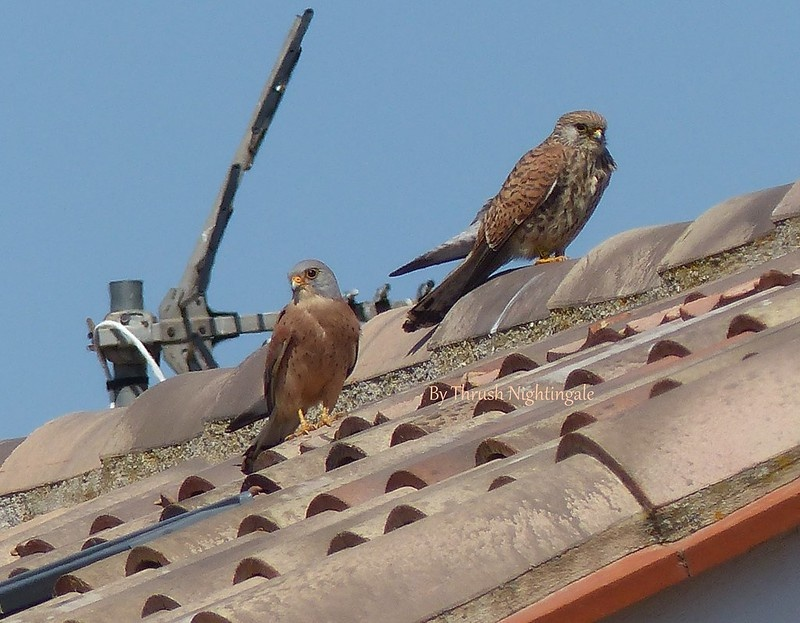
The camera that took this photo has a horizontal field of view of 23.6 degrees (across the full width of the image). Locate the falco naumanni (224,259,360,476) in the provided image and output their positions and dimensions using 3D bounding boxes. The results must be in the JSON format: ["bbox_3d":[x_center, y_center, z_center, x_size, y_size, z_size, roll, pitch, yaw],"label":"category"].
[{"bbox_3d":[-0.371,0.164,7.347,0.344,0.757,0.558,1,-1,-25],"label":"falco naumanni"}]

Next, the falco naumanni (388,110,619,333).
[{"bbox_3d":[0.518,-0.472,8.555,1.451,0.560,0.940,-13,-72,-5],"label":"falco naumanni"}]
